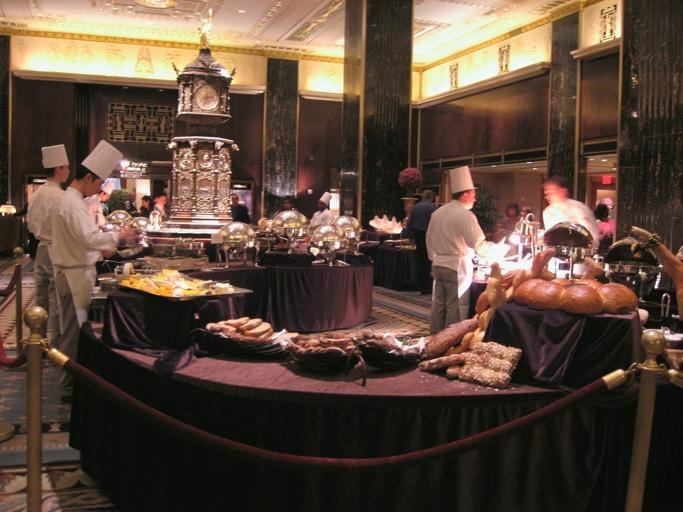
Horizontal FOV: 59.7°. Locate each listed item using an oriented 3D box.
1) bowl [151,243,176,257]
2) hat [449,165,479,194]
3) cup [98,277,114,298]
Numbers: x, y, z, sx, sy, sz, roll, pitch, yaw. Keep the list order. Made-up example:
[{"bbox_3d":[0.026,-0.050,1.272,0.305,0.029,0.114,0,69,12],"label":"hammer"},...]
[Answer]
[{"bbox_3d":[-1.432,-0.050,4.839,0.130,0.063,0.120,0,-5,0],"label":"bowl"},{"bbox_3d":[1.144,-0.719,5.665,0.209,0.264,0.370,0,5,12],"label":"hat"},{"bbox_3d":[-1.562,0.203,3.952,0.143,0.116,0.152,5,-5,0],"label":"cup"}]
